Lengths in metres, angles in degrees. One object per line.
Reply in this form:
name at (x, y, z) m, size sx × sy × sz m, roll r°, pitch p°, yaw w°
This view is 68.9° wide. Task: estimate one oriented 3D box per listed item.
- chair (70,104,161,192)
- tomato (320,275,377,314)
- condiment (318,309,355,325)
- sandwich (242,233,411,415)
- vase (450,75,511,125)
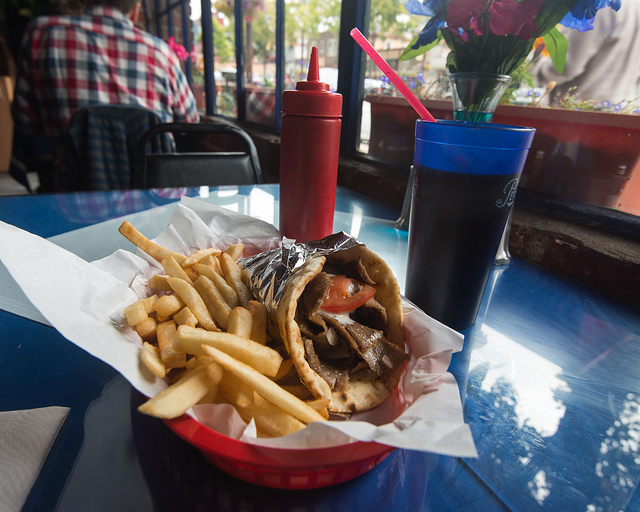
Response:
chair at (-1.008, -0.515, 2.223) m, size 0.383 × 0.438 × 0.240 m, roll -8°, pitch 30°, yaw -16°
tomato at (0.055, 0.069, 0.950) m, size 0.114 × 0.066 × 0.081 m, roll 2°, pitch 9°, yaw -20°
condiment at (0.032, 0.118, 0.895) m, size 0.066 × 0.028 × 0.039 m, roll -9°, pitch 31°, yaw -18°
sandwich at (0.018, 0.065, 0.967) m, size 0.232 × 0.182 × 0.480 m, roll -3°, pitch 36°, yaw -13°
vase at (0.387, -0.394, 1.158) m, size 0.141 × 0.120 × 0.076 m, roll 12°, pitch 30°, yaw 19°
